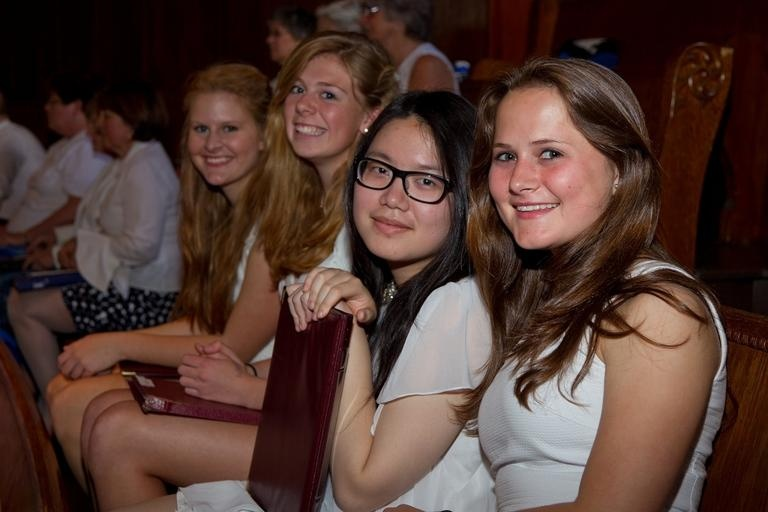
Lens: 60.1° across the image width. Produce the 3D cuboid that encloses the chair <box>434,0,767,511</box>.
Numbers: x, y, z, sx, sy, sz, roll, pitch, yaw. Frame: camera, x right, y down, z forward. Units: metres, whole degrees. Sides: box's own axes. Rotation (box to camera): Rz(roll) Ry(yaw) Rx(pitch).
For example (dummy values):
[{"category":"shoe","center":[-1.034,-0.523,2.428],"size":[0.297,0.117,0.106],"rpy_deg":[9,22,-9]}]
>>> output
[{"category":"chair","center":[0.478,0.057,2.526],"size":[1.008,2.026,1.150],"rpy_deg":[1,-1,-2]}]
